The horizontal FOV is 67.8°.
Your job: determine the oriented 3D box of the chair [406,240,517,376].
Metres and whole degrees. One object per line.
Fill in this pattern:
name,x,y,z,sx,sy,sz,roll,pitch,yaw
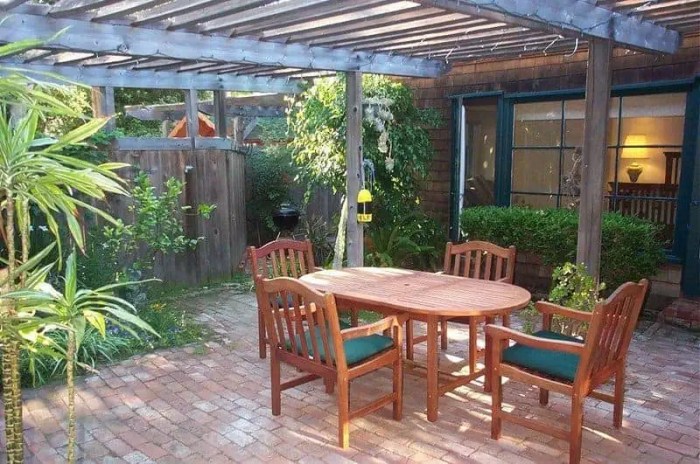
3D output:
chair,1.067,0.714,5.124,0.913,1.207,0.974,-2,5,-26

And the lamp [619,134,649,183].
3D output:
lamp,3.647,-0.943,6.690,0.086,0.595,0.305,-9,14,-41

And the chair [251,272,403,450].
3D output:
chair,-0.157,0.986,4.437,0.885,1.270,0.954,-8,11,-42

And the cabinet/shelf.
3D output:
cabinet/shelf,3.749,-0.340,6.666,0.521,0.550,0.831,-2,8,-33
